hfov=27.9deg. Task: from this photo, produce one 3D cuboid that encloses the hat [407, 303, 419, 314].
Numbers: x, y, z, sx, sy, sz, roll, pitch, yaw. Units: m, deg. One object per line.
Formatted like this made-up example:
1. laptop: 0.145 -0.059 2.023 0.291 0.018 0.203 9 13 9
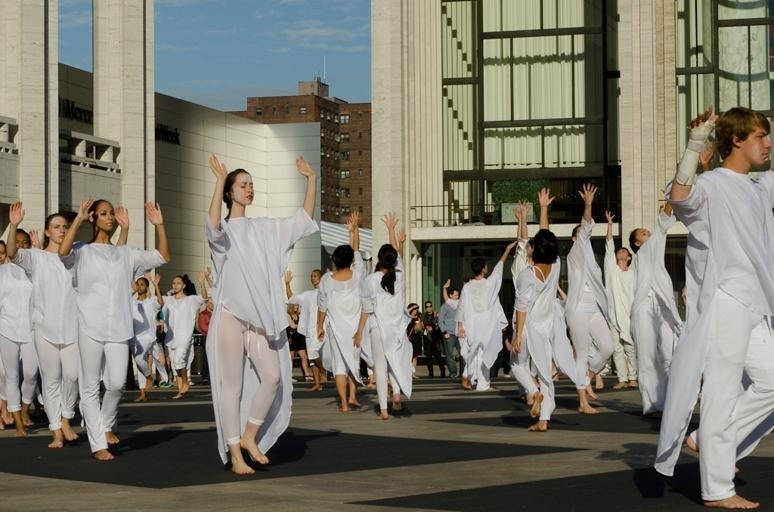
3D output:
1. hat: 0.681 1.333 39.154 0.308 0.369 0.378 -2 -2 -8
